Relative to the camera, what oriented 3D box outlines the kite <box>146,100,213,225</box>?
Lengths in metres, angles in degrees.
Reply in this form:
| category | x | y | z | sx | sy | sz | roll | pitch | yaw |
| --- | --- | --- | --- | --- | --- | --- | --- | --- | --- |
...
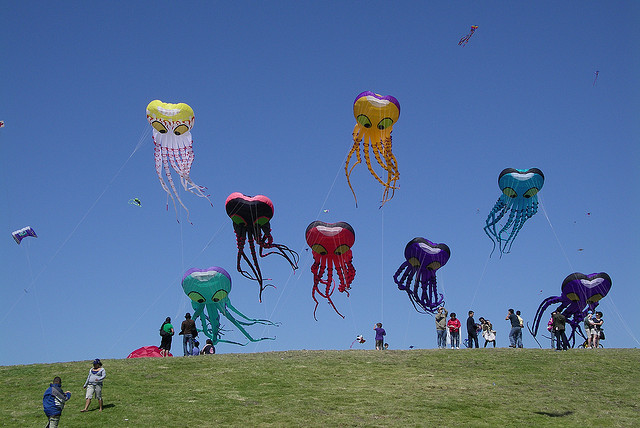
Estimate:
| category | x | y | z | sx | sy | sz | roll | pitch | yaw |
| --- | --- | --- | --- | --- | --- | --- | --- | --- | --- |
| kite | -7.605 | -2.877 | 36.226 | 2.630 | 7.342 | 2.364 | -2 | 27 | -4 |

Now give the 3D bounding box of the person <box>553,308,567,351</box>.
| category | x | y | z | sx | sy | sz | roll | pitch | yaw |
| --- | --- | --- | --- | --- | --- | --- | --- | --- | --- |
| person | 10.670 | 5.183 | 29.795 | 0.663 | 1.689 | 0.735 | 4 | 11 | 20 |

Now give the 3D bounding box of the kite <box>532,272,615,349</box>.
| category | x | y | z | sx | sy | sz | roll | pitch | yaw |
| --- | --- | --- | --- | --- | --- | --- | --- | --- | --- |
| kite | 13.898 | 4.950 | 36.285 | 3.241 | 3.681 | 1.093 | 3 | 10 | 16 |

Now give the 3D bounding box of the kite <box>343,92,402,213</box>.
| category | x | y | z | sx | sy | sz | roll | pitch | yaw |
| --- | --- | --- | --- | --- | --- | --- | --- | --- | --- |
| kite | 2.610 | -3.290 | 33.397 | 2.380 | 5.924 | 1.948 | 6 | -34 | 1 |

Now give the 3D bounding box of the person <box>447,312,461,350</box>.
| category | x | y | z | sx | sy | sz | roll | pitch | yaw |
| --- | --- | --- | --- | --- | --- | --- | --- | --- | --- |
| person | 6.136 | 5.332 | 30.783 | 0.567 | 1.755 | 0.883 | 2 | 10 | 11 |

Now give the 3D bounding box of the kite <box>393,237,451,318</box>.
| category | x | y | z | sx | sy | sz | roll | pitch | yaw |
| --- | --- | --- | --- | --- | --- | --- | --- | --- | --- |
| kite | 5.813 | 3.465 | 36.257 | 1.573 | 4.366 | 2.864 | 20 | -21 | -15 |
